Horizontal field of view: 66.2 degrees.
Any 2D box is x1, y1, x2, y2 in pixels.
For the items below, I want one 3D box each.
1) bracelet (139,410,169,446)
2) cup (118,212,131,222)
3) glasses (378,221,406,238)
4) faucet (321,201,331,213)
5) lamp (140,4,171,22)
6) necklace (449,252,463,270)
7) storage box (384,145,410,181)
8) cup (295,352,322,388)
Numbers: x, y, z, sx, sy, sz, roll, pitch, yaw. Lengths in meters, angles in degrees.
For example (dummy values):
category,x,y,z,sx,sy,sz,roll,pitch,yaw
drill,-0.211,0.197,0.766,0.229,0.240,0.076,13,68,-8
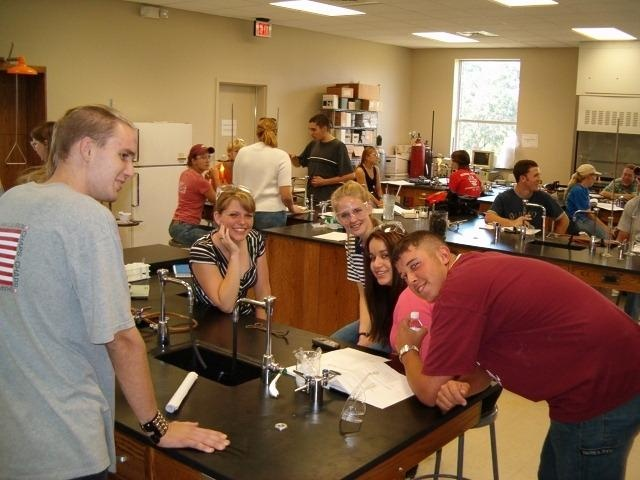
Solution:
category,x,y,z,sx,sy,sz,roll,pitch,yaw
bracelet,-0.549,0.630,1.648,0.088,0.089,0.116,-5,-16,-14
cup,-2.254,-0.260,5.727,0.146,0.094,0.212,1,-3,7
glasses,0.419,-0.071,2.847,0.116,0.060,0.155,5,7,23
faucet,0.091,-0.413,6.097,0.173,0.172,0.179,-2,5,0
lamp,-2.331,-3.240,6.953,0.373,0.180,0.104,-9,16,-37
necklace,0.561,0.086,2.027,0.049,0.055,0.040,21,-8,-38
storage box,1.676,-1.670,10.565,0.397,0.678,0.669,7,14,26
cup,-0.048,0.533,2.071,0.136,0.139,0.135,0,1,0
